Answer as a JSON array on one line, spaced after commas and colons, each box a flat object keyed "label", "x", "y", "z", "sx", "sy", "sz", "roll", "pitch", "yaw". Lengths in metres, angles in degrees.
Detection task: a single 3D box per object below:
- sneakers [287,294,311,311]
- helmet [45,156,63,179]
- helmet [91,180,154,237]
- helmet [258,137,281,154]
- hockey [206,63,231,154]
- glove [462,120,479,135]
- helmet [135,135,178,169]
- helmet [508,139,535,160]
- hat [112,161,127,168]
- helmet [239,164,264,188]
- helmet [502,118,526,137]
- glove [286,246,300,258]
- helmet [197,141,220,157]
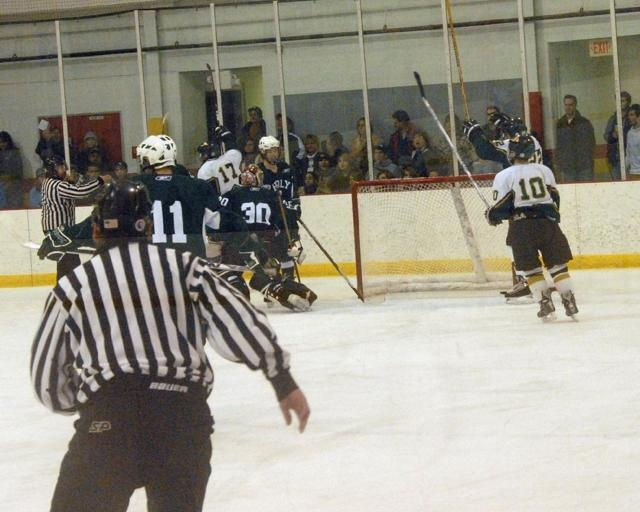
[{"label": "sneakers", "x": -0.186, "y": 0.388, "z": 7.186, "sx": 0.182, "sy": 0.108, "sz": 0.066, "roll": 25, "pitch": 16, "yaw": -7}, {"label": "helmet", "x": -2.325, "y": -0.753, "z": 7.347, "sx": 0.144, "sy": 0.175, "sz": 0.181, "roll": 15, "pitch": 5, "yaw": 31}, {"label": "helmet", "x": -0.551, "y": -0.130, "z": 2.394, "sx": 0.165, "sy": 0.165, "sz": 0.146, "roll": 6, "pitch": 3, "yaw": 29}, {"label": "helmet", "x": -0.478, "y": -1.004, "z": 7.783, "sx": 0.158, "sy": 0.143, "sz": 0.285, "roll": -4, "pitch": 6, "yaw": -6}, {"label": "hockey", "x": -1.103, "y": -1.563, "z": 9.231, "sx": 0.382, "sy": 0.288, "sz": 1.423, "roll": 1, "pitch": 31, "yaw": -9}, {"label": "glove", "x": 1.313, "y": -1.113, "z": 7.483, "sx": 0.144, "sy": 0.144, "sz": 0.060, "roll": -11, "pitch": -32, "yaw": 44}, {"label": "helmet", "x": -0.892, "y": -0.558, "z": 4.645, "sx": 0.194, "sy": 0.179, "sz": 0.204, "roll": -4, "pitch": 7, "yaw": -12}, {"label": "helmet", "x": 1.420, "y": -0.755, "z": 6.081, "sx": 0.144, "sy": 0.169, "sz": 0.175, "roll": -6, "pitch": 14, "yaw": -36}, {"label": "hat", "x": -2.361, "y": -1.057, "z": 10.096, "sx": 0.115, "sy": 0.038, "sz": 0.120, "roll": 0, "pitch": -2, "yaw": -8}, {"label": "helmet", "x": -0.618, "y": -0.680, "z": 7.316, "sx": 0.211, "sy": 0.189, "sz": 0.157, "roll": -3, "pitch": 2, "yaw": 30}, {"label": "helmet", "x": 1.655, "y": -1.095, "z": 7.381, "sx": 0.200, "sy": 0.164, "sz": 0.448, "roll": -2, "pitch": 6, "yaw": 12}, {"label": "glove", "x": -0.233, "y": -0.035, "z": 7.668, "sx": 0.088, "sy": 0.059, "sz": 0.089, "roll": -1, "pitch": -9, "yaw": 20}, {"label": "helmet", "x": -0.980, "y": -0.909, "z": 7.370, "sx": 0.131, "sy": 0.089, "sz": 0.181, "roll": -1, "pitch": 5, "yaw": -26}]
